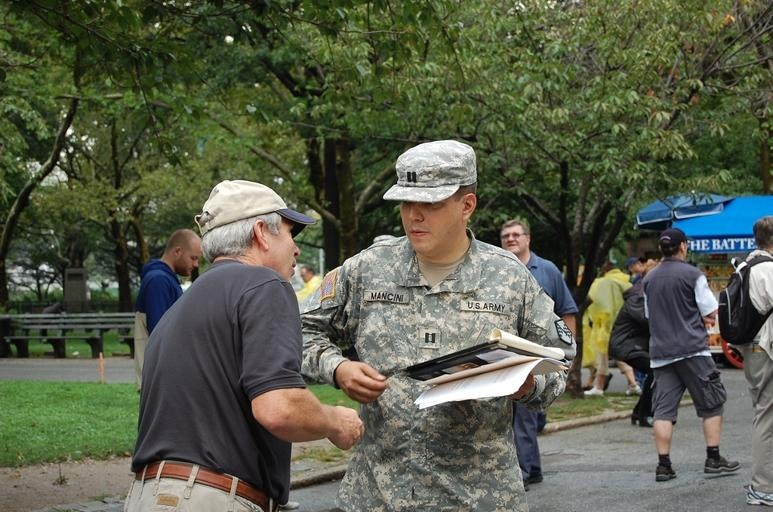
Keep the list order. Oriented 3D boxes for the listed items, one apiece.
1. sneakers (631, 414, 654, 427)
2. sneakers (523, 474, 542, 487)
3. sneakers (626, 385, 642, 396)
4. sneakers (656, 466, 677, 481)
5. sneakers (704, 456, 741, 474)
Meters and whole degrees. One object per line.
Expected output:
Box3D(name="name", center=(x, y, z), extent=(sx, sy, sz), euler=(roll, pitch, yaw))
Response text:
Box3D(name="sneakers", center=(4.407, 2.853, 17.768), extent=(0.142, 0.166, 0.387), euler=(5, -7, -44))
Box3D(name="sneakers", center=(2.141, 3.265, 14.957), extent=(0.406, 0.164, 0.145), euler=(3, -4, -38))
Box3D(name="sneakers", center=(4.878, 2.642, 20.305), extent=(0.383, 0.167, 0.136), euler=(-2, 6, 8))
Box3D(name="sneakers", center=(4.058, 3.155, 14.925), extent=(0.363, 0.200, 0.158), euler=(-2, -2, -18))
Box3D(name="sneakers", center=(4.831, 3.047, 14.959), extent=(0.553, 0.257, 0.221), euler=(-1, -2, -5))
